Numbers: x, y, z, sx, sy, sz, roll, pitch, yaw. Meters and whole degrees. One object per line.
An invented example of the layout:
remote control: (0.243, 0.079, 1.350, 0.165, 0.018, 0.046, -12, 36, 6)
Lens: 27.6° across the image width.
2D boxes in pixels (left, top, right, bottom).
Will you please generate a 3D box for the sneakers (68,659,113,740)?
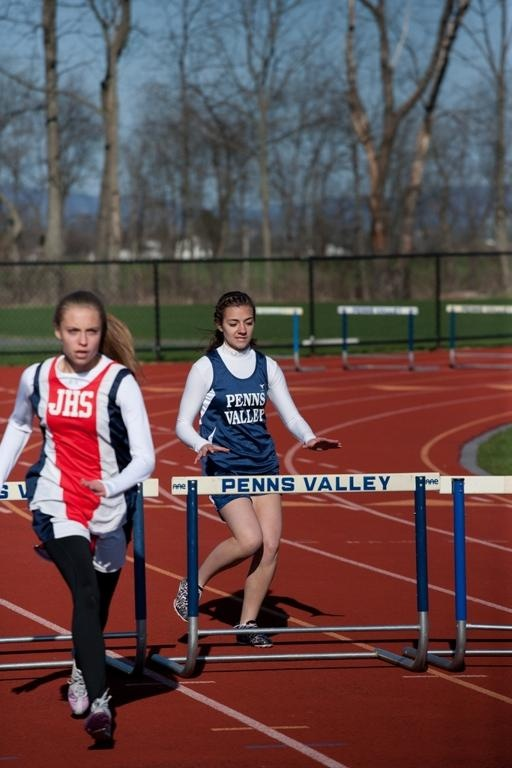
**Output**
sneakers: (-0.551, 1.072, 3.475, 0.108, 0.158, 0.360, -14, -5, -9)

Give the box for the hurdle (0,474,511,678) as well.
hurdle: (0.262, 0.747, 4.087, 2.473, 0.785, 0.760, -2, 9, -8)

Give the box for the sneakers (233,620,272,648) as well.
sneakers: (-0.006, 1.056, 4.427, 0.091, 0.119, 0.252, 4, -10, -27)
